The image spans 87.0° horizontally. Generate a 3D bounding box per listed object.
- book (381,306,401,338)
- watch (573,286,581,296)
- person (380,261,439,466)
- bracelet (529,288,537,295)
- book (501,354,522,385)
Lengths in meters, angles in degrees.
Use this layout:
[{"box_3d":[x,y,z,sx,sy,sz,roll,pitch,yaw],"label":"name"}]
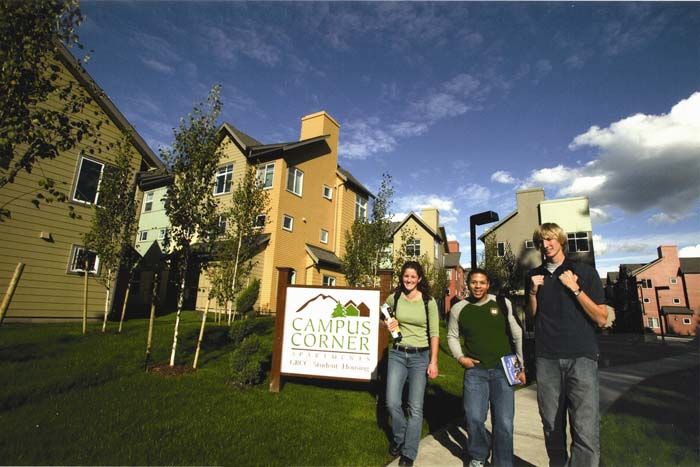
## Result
[{"box_3d":[0.828,1.807,7.542,0.147,0.633,0.360,-7,-16,-27],"label":"book"},{"box_3d":[3.878,0.976,6.247,0.114,0.046,0.118,-20,2,-15],"label":"watch"},{"box_3d":[1.243,2.505,7.381,1.084,3.863,0.750,-3,-13,15],"label":"person"},{"box_3d":[3.312,1.054,6.627,0.089,0.078,0.101,2,-14,-6],"label":"bracelet"},{"box_3d":[2.953,2.454,6.654,0.464,0.464,0.122,2,-16,-21],"label":"book"}]
